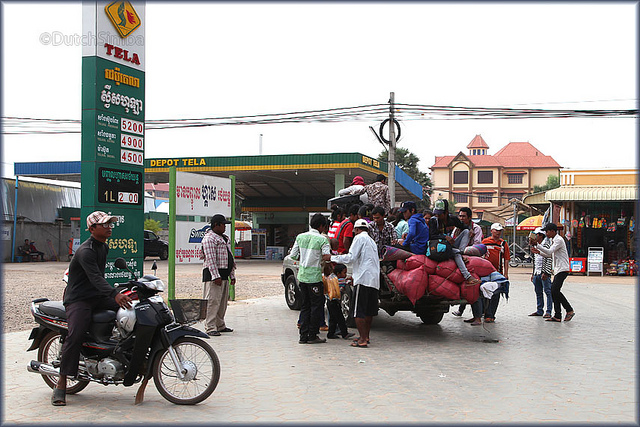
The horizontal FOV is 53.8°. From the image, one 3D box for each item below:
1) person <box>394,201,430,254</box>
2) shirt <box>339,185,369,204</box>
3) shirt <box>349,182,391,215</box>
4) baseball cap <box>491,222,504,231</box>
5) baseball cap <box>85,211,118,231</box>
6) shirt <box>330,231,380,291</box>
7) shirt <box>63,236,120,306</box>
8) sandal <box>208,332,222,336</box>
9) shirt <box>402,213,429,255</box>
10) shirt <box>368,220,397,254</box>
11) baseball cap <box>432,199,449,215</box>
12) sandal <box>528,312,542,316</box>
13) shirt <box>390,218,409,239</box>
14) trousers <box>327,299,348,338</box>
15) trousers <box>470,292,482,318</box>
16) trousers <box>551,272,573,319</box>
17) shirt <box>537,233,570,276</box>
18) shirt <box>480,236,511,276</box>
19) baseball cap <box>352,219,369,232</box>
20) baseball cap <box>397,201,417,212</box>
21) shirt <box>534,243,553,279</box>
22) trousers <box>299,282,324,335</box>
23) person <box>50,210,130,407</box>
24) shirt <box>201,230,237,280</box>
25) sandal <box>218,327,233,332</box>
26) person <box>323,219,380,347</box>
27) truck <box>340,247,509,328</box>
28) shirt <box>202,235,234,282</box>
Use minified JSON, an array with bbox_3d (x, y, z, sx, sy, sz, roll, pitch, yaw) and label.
[{"bbox_3d":[2.028,0.297,13.864,0.695,1.169,1.056,0,-2,6],"label":"person"},{"bbox_3d":[0.892,-0.503,16.619,0.659,0.368,0.492,-2,-1,15],"label":"shirt"},{"bbox_3d":[1.193,-0.358,15.563,0.866,1.170,0.352,4,-9,-5],"label":"shirt"},{"bbox_3d":[4.363,0.321,15.805,0.210,0.155,0.296,4,-8,-43],"label":"baseball cap"},{"bbox_3d":[-3.428,0.078,9.790,0.458,0.248,0.296,-18,-5,4],"label":"baseball cap"},{"bbox_3d":[0.743,0.923,12.465,0.829,1.150,0.320,0,-2,1],"label":"shirt"},{"bbox_3d":[-3.513,0.885,9.934,0.942,1.044,1.276,3,5,-7],"label":"shirt"},{"bbox_3d":[-2.295,2.569,13.503,0.243,0.095,0.082,-7,-6,36],"label":"sandal"},{"bbox_3d":[1.998,0.434,13.706,0.722,0.891,0.654,-3,-5,36],"label":"shirt"},{"bbox_3d":[1.300,0.523,13.372,0.710,0.583,0.234,0,-3,-25],"label":"shirt"},{"bbox_3d":[2.605,-0.162,13.598,0.224,0.227,0.363,-1,8,36],"label":"baseball cap"},{"bbox_3d":[5.563,2.591,16.260,0.348,0.138,0.109,-4,-3,40],"label":"sandal"},{"bbox_3d":[1.908,0.338,14.645,0.333,0.603,0.467,2,2,-41],"label":"shirt"},{"bbox_3d":[0.351,2.200,13.193,0.425,0.854,0.728,0,-2,2],"label":"trousers"},{"bbox_3d":[3.634,2.189,14.646,0.243,0.478,0.385,0,-2,13],"label":"trousers"},{"bbox_3d":[5.954,2.015,15.467,0.452,1.163,1.020,-1,-3,31],"label":"trousers"},{"bbox_3d":[5.669,0.998,15.297,0.675,0.947,0.398,0,-2,19],"label":"shirt"},{"bbox_3d":[4.378,1.056,15.839,0.800,0.924,0.509,3,11,23],"label":"shirt"},{"bbox_3d":[0.805,0.245,12.777,0.253,0.259,0.314,1,-3,-6],"label":"baseball cap"},{"bbox_3d":[1.970,-0.154,14.214,0.354,0.199,0.244,-2,2,-1],"label":"baseball cap"},{"bbox_3d":[5.584,1.161,15.528,0.461,0.634,0.469,1,3,42],"label":"shirt"},{"bbox_3d":[-0.196,1.943,12.911,0.504,1.072,0.292,0,-2,2],"label":"trousers"},{"bbox_3d":[-3.672,1.446,9.775,0.950,2.915,1.142,1,-2,-24],"label":"person"},{"bbox_3d":[-2.326,0.934,13.943,0.669,1.174,0.927,1,-1,21],"label":"shirt"},{"bbox_3d":[-2.087,2.550,13.885,0.256,0.103,0.085,-1,1,-10],"label":"sandal"},{"bbox_3d":[0.717,1.384,12.534,0.879,2.541,0.489,0,-2,1],"label":"person"},{"bbox_3d":[2.420,1.590,14.287,3.433,1.244,3.410,7,-14,-34],"label":"truck"},{"bbox_3d":[-2.303,1.005,14.373,0.831,1.453,1.080,0,-2,-2],"label":"shirt"}]
